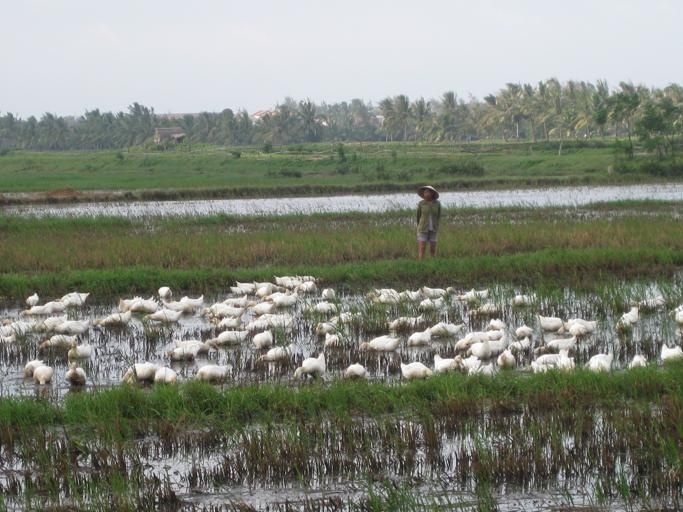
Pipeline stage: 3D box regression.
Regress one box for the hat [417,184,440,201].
[{"bbox_3d":[2.763,-1.982,37.939,0.621,0.490,1.260,-4,3,2],"label":"hat"}]
